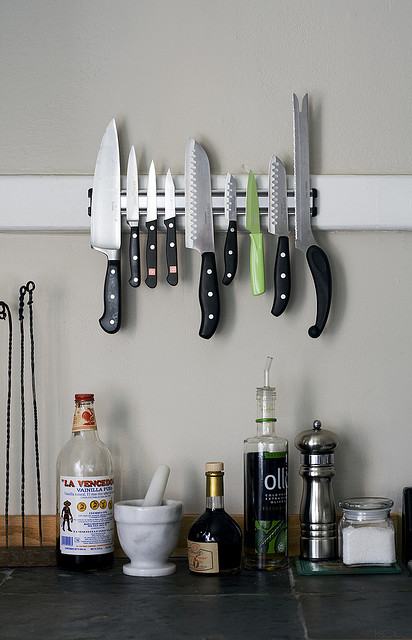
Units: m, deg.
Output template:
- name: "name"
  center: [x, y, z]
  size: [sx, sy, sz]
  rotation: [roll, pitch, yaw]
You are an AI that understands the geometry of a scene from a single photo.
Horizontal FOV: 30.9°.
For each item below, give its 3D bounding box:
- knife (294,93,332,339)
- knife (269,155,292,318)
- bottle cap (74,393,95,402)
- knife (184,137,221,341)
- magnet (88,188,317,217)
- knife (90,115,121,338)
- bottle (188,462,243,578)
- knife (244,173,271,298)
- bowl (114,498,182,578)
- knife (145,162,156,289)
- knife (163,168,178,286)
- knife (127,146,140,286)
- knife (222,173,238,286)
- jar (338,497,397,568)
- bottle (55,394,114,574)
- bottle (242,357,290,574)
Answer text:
- name: "knife"
  center: [0.183, -0.165, 1.277]
  size: [0.055, 0.447, 0.025]
  rotation: [-1, -4, -7]
- name: "knife"
  center: [0.126, -0.145, 1.272]
  size: [0.034, 0.273, 0.041]
  rotation: [0, 1, 1]
- name: "bottle cap"
  center: [-0.191, 0.123, 1.169]
  size: [0.021, 0.011, 0.033]
  rotation: [1, 2, 16]
- name: "knife"
  center: [-0.006, -0.141, 1.274]
  size: [0.059, 0.340, 0.050]
  rotation: [0, 1, 0]
- name: "magnet"
  center: [-0.006, -0.206, 1.294]
  size: [0.403, 0.051, 0.030]
  rotation: [1, 1, -1]
- name: "knife"
  center: [-0.168, -0.163, 1.280]
  size: [0.050, 0.366, 0.051]
  rotation: [1, 1, 9]
- name: "bottle"
  center: [0.013, 0.298, 1.108]
  size: [0.079, 0.166, 0.051]
  rotation: [0, 1, -2]
- name: "knife"
  center: [0.089, -0.143, 1.283]
  size: [0.045, 0.211, 0.074]
  rotation: [1, 1, 7]
- name: "bowl"
  center: [-0.088, 0.320, 1.141]
  size: [0.090, 0.123, 0.100]
  rotation: [0, -1, 0]
- name: "knife"
  center: [-0.096, -0.165, 1.288]
  size: [0.019, 0.224, 0.080]
  rotation: [0, 1, -5]
- name: "knife"
  center: [-0.063, -0.157, 1.259]
  size: [0.022, 0.197, 0.012]
  rotation: [1, -11, 2]
- name: "knife"
  center: [-0.124, -0.175, 1.268]
  size: [0.021, 0.235, 0.030]
  rotation: [0, 1, -8]
- name: "knife"
  center: [0.042, -0.155, 1.270]
  size: [0.022, 0.188, 0.046]
  rotation: [1, 1, 4]
- name: "jar"
  center: [0.245, 0.322, 1.128]
  size: [0.083, 0.097, 0.054]
  rotation: [1, 2, 13]
- name: "bottle"
  center: [-0.192, 0.251, 1.159]
  size: [0.100, 0.267, 0.102]
  rotation: [0, 1, 0]
- name: "bottle"
  center: [0.100, 0.228, 1.204]
  size: [0.079, 0.326, 0.201]
  rotation: [0, 2, 3]
